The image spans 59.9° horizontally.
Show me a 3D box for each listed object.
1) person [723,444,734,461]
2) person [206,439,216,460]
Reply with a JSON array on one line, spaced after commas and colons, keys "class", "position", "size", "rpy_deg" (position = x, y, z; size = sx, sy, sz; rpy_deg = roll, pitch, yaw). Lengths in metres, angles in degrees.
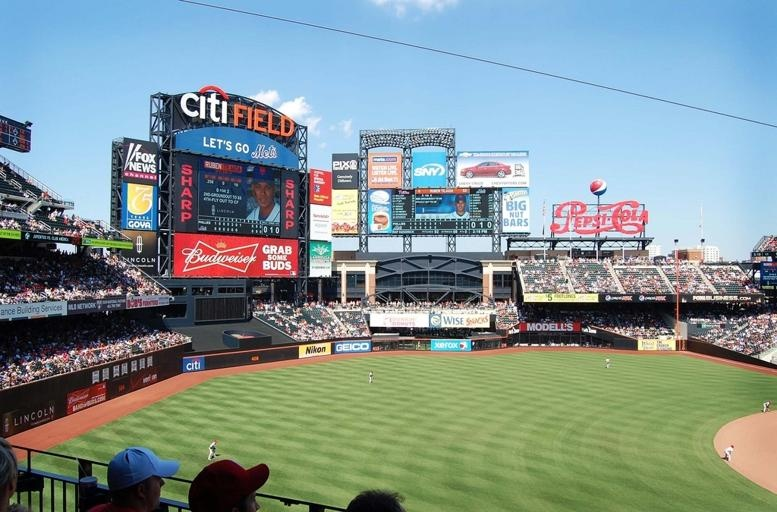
[{"class": "person", "position": [25.316, 14.457, 50.175], "size": [0.729, 0.920, 2.143], "rpy_deg": [9, 13, 28]}, {"class": "person", "position": [-12.577, 13.643, 47.922], "size": [0.644, 1.518, 1.572], "rpy_deg": [-1, 12, -15]}]
